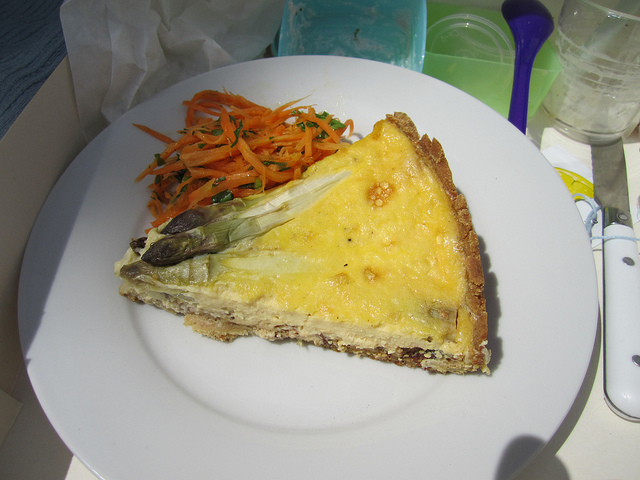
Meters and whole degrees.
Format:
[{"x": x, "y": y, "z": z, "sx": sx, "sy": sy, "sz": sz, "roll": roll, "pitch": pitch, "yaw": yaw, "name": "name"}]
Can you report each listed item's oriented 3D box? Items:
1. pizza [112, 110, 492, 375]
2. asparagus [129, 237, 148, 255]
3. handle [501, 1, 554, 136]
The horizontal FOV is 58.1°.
[{"x": 0.038, "y": -0.033, "z": 2.350, "sx": 1.399, "sy": 0.232, "sz": 0.951, "roll": 10, "pitch": 80, "yaw": 4, "name": "pizza"}, {"x": -0.745, "y": 0.018, "z": 2.364, "sx": 0.062, "sy": 0.012, "sz": 0.068, "roll": 26, "pitch": 60, "yaw": 7, "name": "asparagus"}, {"x": 0.995, "y": -0.931, "z": 2.748, "sx": 0.191, "sy": 0.123, "sz": 0.937, "roll": 4, "pitch": 71, "yaw": 18, "name": "handle"}]
